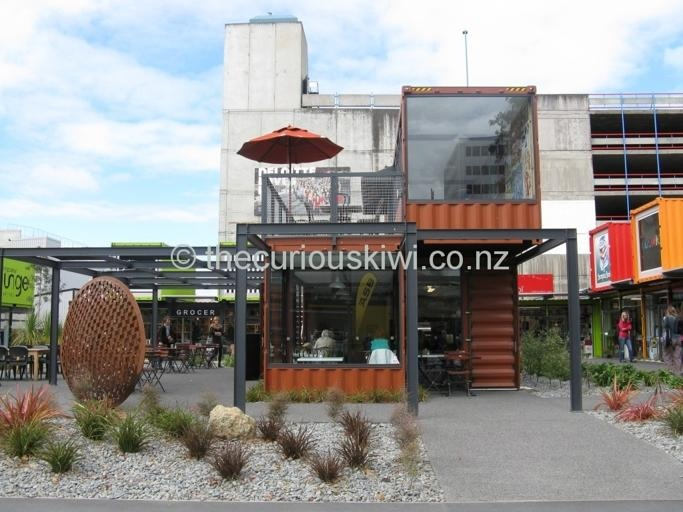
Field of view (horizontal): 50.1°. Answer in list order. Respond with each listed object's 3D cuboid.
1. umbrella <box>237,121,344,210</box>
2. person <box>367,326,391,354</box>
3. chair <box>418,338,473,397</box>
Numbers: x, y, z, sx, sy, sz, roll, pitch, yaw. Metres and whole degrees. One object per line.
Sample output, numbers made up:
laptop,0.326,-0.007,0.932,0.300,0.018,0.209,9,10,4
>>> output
umbrella,-1.208,-2.395,16.716,2.434,1.313,2.371,-9,-11,42
person,0.761,1.876,16.073,0.605,0.783,0.419,2,-30,-2
chair,2.340,2.622,16.491,1.203,0.977,1.649,-1,-6,8
